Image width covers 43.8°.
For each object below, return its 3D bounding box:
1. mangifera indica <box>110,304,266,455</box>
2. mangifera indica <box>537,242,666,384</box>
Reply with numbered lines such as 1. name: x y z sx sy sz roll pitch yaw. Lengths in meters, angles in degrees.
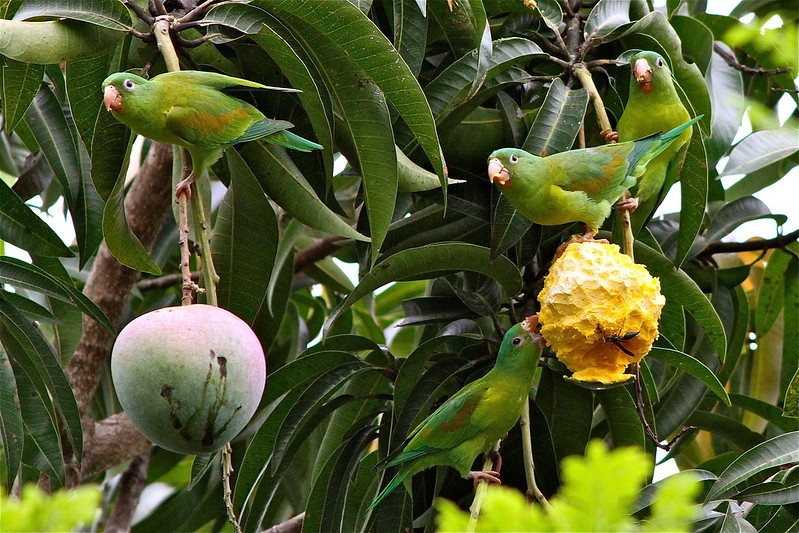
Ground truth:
1. mangifera indica: -0.716 0.415 3.393 0.498 0.564 0.536 -1 -30 -18
2. mangifera indica: 0.631 0.173 3.295 0.358 0.517 0.466 7 -12 -14
